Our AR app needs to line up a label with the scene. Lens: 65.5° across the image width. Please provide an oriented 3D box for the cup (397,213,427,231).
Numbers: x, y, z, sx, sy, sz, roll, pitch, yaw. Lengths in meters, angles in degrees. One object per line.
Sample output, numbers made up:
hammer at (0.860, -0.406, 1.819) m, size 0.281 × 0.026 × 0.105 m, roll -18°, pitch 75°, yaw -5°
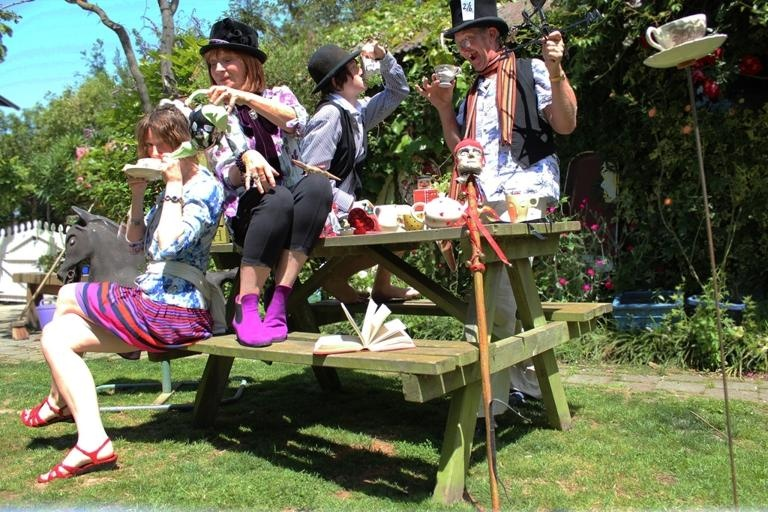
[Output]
cup at (0.179, -0.216, 3.761) m, size 0.114 × 0.095 × 0.115 m, roll -3°, pitch 1°, yaw 0°

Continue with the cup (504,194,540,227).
cup at (0.864, -0.304, 3.762) m, size 0.201 × 0.191 × 0.146 m, roll 2°, pitch -2°, yaw 7°

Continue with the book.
book at (-0.071, 0.398, 3.588) m, size 0.485 × 0.327 × 0.256 m, roll -2°, pitch -2°, yaw 4°

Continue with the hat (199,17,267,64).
hat at (-0.998, -1.452, 4.028) m, size 0.448 × 0.187 × 0.390 m, roll 3°, pitch 2°, yaw -14°

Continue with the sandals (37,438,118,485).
sandals at (-1.816, 1.206, 3.530) m, size 0.427 × 0.207 × 0.072 m, roll -4°, pitch 8°, yaw -19°

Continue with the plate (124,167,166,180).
plate at (-1.516, -0.529, 3.763) m, size 0.213 × 0.096 × 0.306 m, roll -5°, pitch 9°, yaw -24°

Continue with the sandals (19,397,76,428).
sandals at (-2.217, 1.036, 3.970) m, size 0.389 × 0.164 × 0.218 m, roll 8°, pitch 2°, yaw 0°

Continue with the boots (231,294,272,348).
boots at (-0.806, 0.400, 3.631) m, size 0.142 × 0.193 × 0.437 m, roll -1°, pitch 4°, yaw -21°

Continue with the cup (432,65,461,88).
cup at (0.424, -1.230, 4.061) m, size 0.144 × 0.115 × 0.176 m, roll -5°, pitch -5°, yaw 41°

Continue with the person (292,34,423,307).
person at (-0.166, -0.686, 4.700) m, size 0.886 × 2.106 × 1.073 m, roll -1°, pitch -1°, yaw -11°

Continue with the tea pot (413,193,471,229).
tea pot at (0.349, -0.257, 3.613) m, size 0.162 × 0.236 × 0.366 m, roll 6°, pitch -5°, yaw -42°

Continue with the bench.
bench at (0.105, 0.845, 4.056) m, size 2.938 × 0.873 × 1.806 m, roll 0°, pitch 8°, yaw 9°

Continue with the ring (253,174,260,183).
ring at (-0.792, -0.480, 3.691) m, size 0.039 × 0.042 × 0.011 m, roll 6°, pitch -4°, yaw 18°

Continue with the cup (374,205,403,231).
cup at (0.028, -0.246, 3.834) m, size 0.165 × 0.129 × 0.129 m, roll -1°, pitch 1°, yaw -13°

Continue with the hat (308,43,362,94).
hat at (-0.404, -1.468, 4.692) m, size 0.330 × 0.433 × 0.510 m, roll 1°, pitch -2°, yaw 1°

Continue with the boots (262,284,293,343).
boots at (-0.681, 0.373, 3.704) m, size 0.175 × 0.364 × 0.380 m, roll 7°, pitch -3°, yaw -3°
